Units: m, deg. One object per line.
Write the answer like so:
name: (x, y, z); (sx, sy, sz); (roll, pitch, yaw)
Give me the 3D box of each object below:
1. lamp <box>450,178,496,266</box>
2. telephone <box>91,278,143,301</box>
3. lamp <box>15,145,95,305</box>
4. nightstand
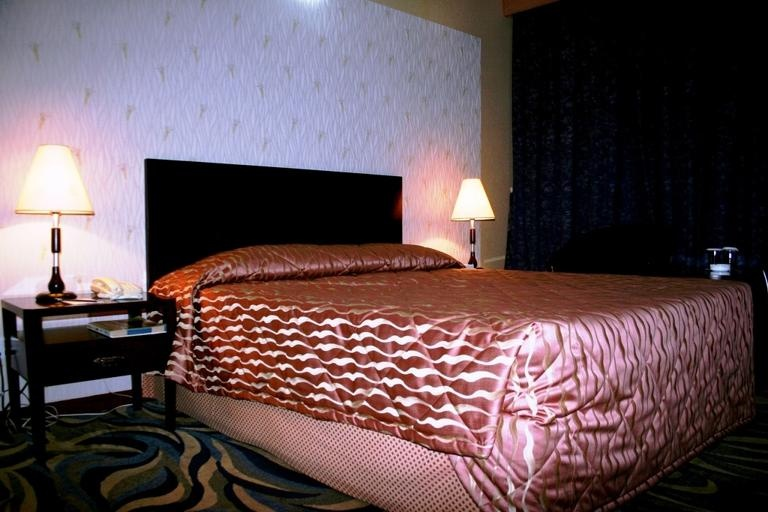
lamp: (0.773, -0.278, 5.045); (0.415, 0.764, 0.421); (-2, 1, -41)
telephone: (-1.510, 0.177, 3.190); (0.186, 0.071, 0.153); (1, 0, 17)
lamp: (-1.836, -0.212, 3.195); (0.360, 0.806, 0.477); (-8, 15, -31)
nightstand: (-1.579, 0.357, 3.191); (1.049, 1.042, 0.736); (-4, 5, -44)
